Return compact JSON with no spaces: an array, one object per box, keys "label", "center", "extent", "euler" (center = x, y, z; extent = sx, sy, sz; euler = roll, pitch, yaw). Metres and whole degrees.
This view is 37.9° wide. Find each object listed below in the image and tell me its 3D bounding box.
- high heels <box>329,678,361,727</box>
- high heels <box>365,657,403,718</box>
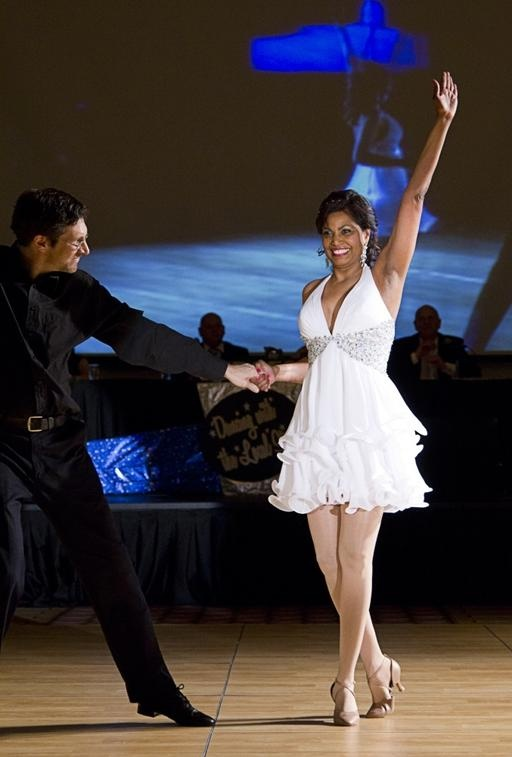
[{"label":"high heels","center":[0.230,0.847,1.929],"extent":[0.056,0.047,0.136],"euler":[0,5,-1]},{"label":"high heels","center":[0.359,0.835,2.068],"extent":[0.122,0.180,0.073],"euler":[11,-21,-2]}]
